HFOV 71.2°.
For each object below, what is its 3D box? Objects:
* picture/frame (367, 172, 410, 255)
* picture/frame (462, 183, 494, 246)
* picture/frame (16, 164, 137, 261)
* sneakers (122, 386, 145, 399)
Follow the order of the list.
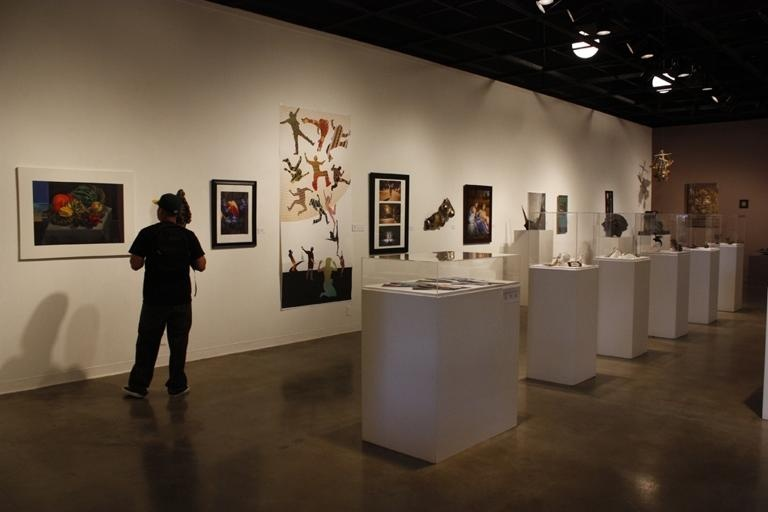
[{"bbox_3d":[0.136,-0.895,11.201,0.336,1.657,1.228,9,13,43],"label":"picture/frame"},{"bbox_3d":[2.290,-1.002,13.080,0.038,1.417,1.005,-2,6,-32],"label":"picture/frame"},{"bbox_3d":[-4.532,-0.633,7.790,1.361,1.244,0.051,-2,2,-36],"label":"picture/frame"},{"bbox_3d":[-3.457,1.849,7.398,0.374,0.177,0.142,5,6,26],"label":"sneakers"}]
